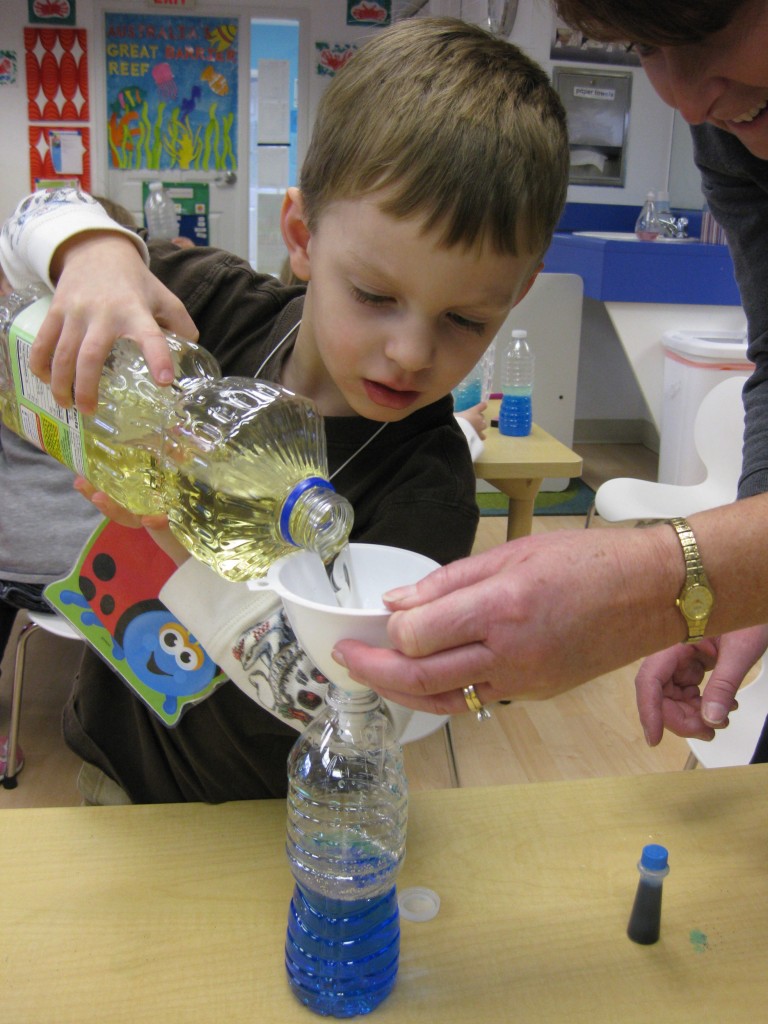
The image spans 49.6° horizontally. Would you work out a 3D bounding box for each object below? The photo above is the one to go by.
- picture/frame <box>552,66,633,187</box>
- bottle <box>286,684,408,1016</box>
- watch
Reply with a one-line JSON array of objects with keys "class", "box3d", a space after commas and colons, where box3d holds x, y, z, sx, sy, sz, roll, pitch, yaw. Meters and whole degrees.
[{"class": "picture/frame", "box3d": [1.270, -2.520, 5.583, 0.677, 0.725, 0.629, 1, 12, 4]}, {"class": "bottle", "box3d": [-0.029, 0.234, 0.582, 0.085, 0.213, 0.100, 1, 15, 1]}, {"class": "watch", "box3d": [0.232, 0.056, 0.643, 0.043, 0.096, 0.056, 1, 15, 2]}]
